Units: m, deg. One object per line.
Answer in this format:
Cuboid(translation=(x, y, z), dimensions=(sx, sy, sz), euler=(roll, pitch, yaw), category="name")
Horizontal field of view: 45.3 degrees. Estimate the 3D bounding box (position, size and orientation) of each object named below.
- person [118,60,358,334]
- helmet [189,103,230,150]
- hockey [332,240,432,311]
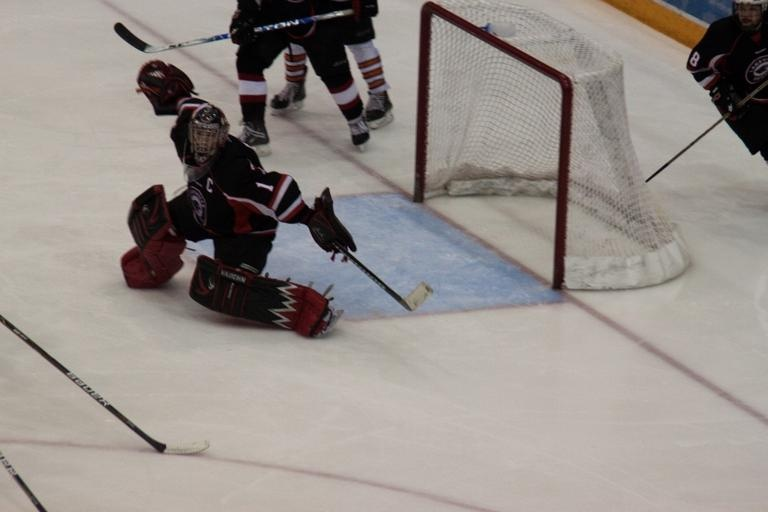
Cuboid(translation=(-0.761, -0.267, 4.758), dimensions=(0.844, 0.950, 1.591), euler=(-34, 65, -32), category="person")
Cuboid(translation=(-0.778, -0.580, 4.275), dimensions=(0.208, 0.203, 0.190), euler=(5, 71, -3), category="helmet")
Cuboid(translation=(-0.001, 0.111, 4.345), dimensions=(0.386, 0.093, 0.366), euler=(35, 13, 1), category="hockey")
